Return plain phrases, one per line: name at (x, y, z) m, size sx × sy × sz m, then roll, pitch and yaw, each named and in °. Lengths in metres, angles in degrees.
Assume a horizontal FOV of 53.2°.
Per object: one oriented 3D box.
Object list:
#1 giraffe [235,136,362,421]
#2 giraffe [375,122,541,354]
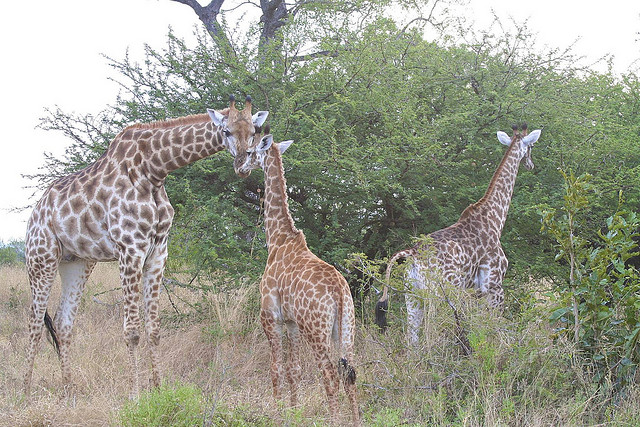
giraffe at (-0.248, 1.079, 10.196) m, size 1.465 × 4.278 × 2.430 m, roll -5°, pitch -17°, yaw 2°
giraffe at (2.524, 0.350, 10.903) m, size 3.077 × 3.877 × 1.011 m, roll 0°, pitch -18°, yaw -15°
